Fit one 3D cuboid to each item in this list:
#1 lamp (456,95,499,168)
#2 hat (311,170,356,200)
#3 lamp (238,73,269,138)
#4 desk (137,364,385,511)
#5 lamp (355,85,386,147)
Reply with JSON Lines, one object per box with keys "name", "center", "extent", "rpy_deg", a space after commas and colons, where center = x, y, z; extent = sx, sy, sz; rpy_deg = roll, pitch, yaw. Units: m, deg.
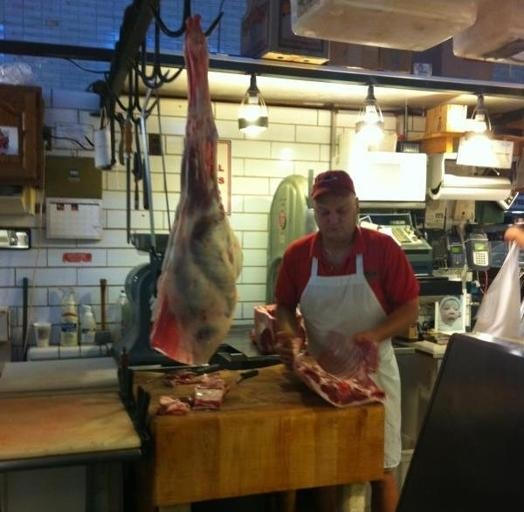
{"name": "lamp", "center": [1.517, -0.890, 4.308], "extent": [0.174, 0.458, 0.143], "rpy_deg": [-6, 14, -38]}
{"name": "hat", "center": [0.292, -0.294, 2.542], "extent": [0.174, 0.127, 0.128], "rpy_deg": [1, 2, 8]}
{"name": "lamp", "center": [-0.055, -0.903, 3.709], "extent": [0.149, 0.389, 0.161], "rpy_deg": [0, -8, -16]}
{"name": "desk", "center": [-0.027, 0.611, 2.028], "extent": [0.723, 0.348, 0.508], "rpy_deg": [0, 2, -21]}
{"name": "lamp", "center": [0.679, -0.879, 3.905], "extent": [0.171, 0.424, 0.173], "rpy_deg": [2, -7, 16]}
